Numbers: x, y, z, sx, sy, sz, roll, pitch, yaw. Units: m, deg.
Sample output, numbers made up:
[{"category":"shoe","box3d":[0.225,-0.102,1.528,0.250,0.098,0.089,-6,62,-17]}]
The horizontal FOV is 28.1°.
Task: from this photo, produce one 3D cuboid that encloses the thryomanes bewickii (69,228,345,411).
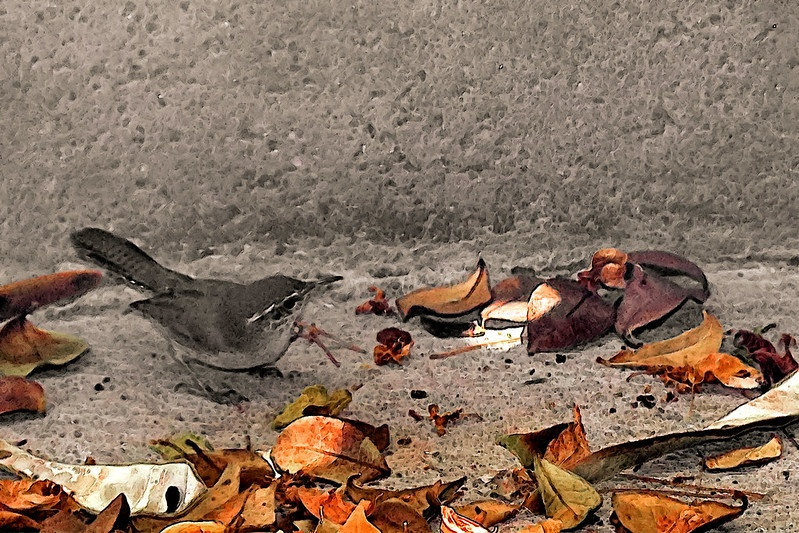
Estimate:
[{"category":"thryomanes bewickii","box3d":[-0.396,0.101,3.277,0.625,0.214,0.259,14,-66,22]}]
